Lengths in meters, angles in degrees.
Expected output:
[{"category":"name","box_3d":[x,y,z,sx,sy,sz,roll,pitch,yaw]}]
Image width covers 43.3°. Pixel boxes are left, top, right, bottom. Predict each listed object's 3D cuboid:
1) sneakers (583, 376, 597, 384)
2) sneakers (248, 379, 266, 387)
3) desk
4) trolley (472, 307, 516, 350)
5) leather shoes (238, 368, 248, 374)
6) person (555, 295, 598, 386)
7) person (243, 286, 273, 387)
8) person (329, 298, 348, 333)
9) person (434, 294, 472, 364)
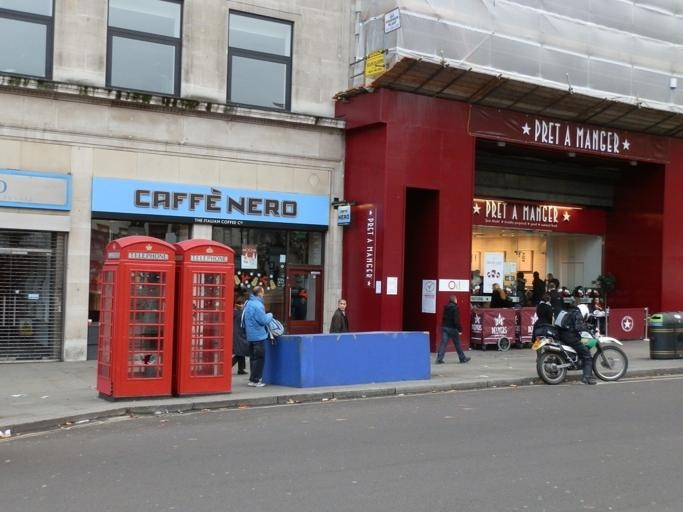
[{"category":"sneakers","box_3d":[5.730,2.854,19.706,0.441,0.209,0.148,-1,1,-34]},{"category":"sneakers","box_3d":[-1.861,2.759,18.673,0.328,0.166,0.137,-1,-1,-7]},{"category":"desk","box_3d":[0.194,2.272,18.977,3.503,1.128,0.802,-1,-5,-13]},{"category":"trolley","box_3d":[4.724,2.165,26.708,1.304,1.114,0.748,1,-2,-25]},{"category":"leather shoes","box_3d":[-2.375,2.769,20.611,0.203,0.221,0.094,0,0,-14]},{"category":"person","box_3d":[5.372,2.054,19.776,0.842,1.787,0.578,-3,-5,13]},{"category":"person","box_3d":[-1.828,1.741,18.572,0.632,2.152,0.494,-5,-6,37]},{"category":"person","box_3d":[-0.077,1.490,21.428,0.418,0.820,0.991,-1,-5,-2]},{"category":"person","box_3d":[2.900,1.975,23.068,0.843,1.781,1.222,-4,-5,26]}]
